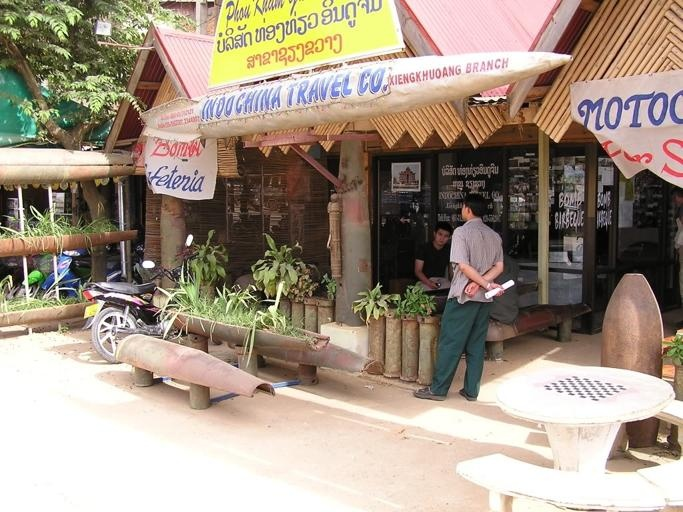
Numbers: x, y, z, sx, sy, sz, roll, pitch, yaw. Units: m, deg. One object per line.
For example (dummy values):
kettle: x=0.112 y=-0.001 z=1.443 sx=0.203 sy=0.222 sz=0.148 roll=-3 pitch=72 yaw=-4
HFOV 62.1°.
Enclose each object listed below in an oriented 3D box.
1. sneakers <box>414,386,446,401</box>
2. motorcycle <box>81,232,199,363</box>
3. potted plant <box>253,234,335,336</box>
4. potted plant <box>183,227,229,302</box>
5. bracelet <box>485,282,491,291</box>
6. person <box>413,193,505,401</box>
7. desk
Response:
sneakers: x=1.037 y=1.640 z=6.770 sx=0.395 sy=0.150 sz=0.143 roll=5 pitch=5 yaw=25
motorcycle: x=-2.962 y=0.689 z=9.017 sx=1.149 sy=1.588 sz=2.421 roll=-13 pitch=-10 yaw=39
potted plant: x=-0.812 y=0.380 z=8.366 sx=1.041 sy=1.397 sz=0.673 roll=7 pitch=11 yaw=43
potted plant: x=-2.327 y=0.139 z=9.718 sx=0.751 sy=1.002 sz=0.649 roll=-1 pitch=-7 yaw=10
bracelet: x=1.599 y=0.342 z=6.182 sx=0.063 sy=0.057 sz=0.063 roll=0 pitch=7 yaw=-16
person: x=1.395 y=0.513 z=6.495 sx=0.931 sy=2.396 sz=0.651 roll=-1 pitch=8 yaw=2
desk: x=1.802 y=1.277 z=4.221 sx=1.272 sy=0.567 sz=1.235 roll=-2 pitch=1 yaw=1
